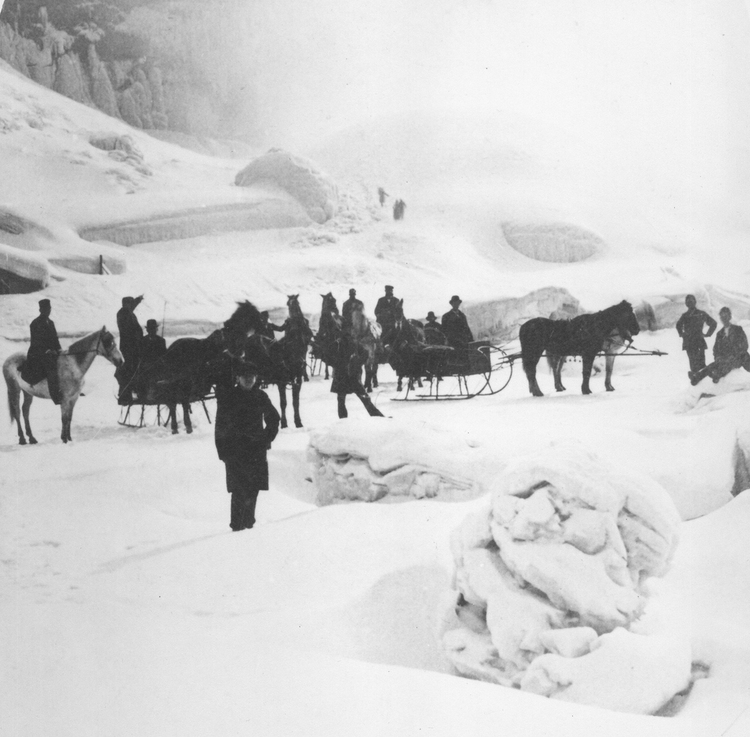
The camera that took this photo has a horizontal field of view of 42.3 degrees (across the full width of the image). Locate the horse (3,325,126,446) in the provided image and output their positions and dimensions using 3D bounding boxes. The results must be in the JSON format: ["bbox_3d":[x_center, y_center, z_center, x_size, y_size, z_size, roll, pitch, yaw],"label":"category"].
[{"bbox_3d":[-1.727,0.094,5.373,0.627,0.599,0.224,-7,8,-23],"label":"horse"}]

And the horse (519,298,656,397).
[{"bbox_3d":[1.186,-0.096,5.403,0.439,0.450,0.142,-1,-9,3],"label":"horse"}]

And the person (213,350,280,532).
[{"bbox_3d":[-0.674,0.380,5.117,0.333,0.886,0.202,-5,7,-10],"label":"person"}]

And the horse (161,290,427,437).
[{"bbox_3d":[-0.567,-0.032,5.336,1.135,0.707,0.367,-6,7,-11],"label":"horse"}]
